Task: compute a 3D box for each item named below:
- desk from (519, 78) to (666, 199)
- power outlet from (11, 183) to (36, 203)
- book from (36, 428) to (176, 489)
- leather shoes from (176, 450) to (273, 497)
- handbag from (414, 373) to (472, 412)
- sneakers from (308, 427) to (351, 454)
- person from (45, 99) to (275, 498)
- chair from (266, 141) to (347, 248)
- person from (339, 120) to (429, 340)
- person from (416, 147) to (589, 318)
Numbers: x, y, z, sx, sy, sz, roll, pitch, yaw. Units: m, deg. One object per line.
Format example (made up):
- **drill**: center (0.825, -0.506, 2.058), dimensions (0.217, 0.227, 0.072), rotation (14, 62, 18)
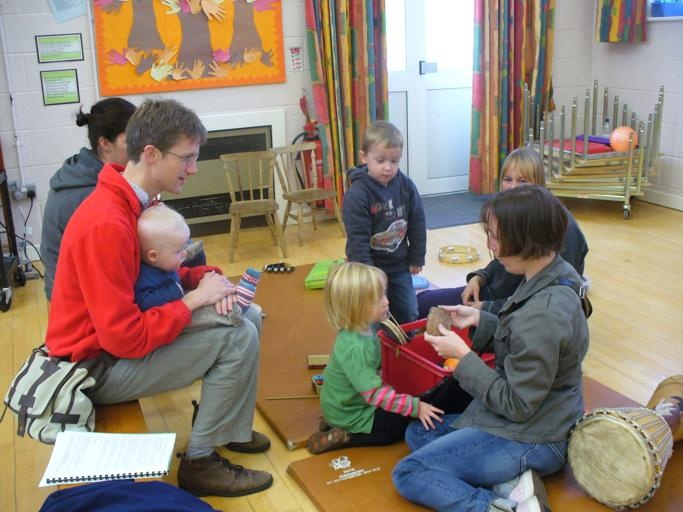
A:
- **desk**: center (2.249, -1.128, 5.100), dimensions (1.113, 1.132, 1.482), rotation (-14, 23, -30)
- **power outlet**: center (-2.438, -0.504, 4.105), dimensions (0.184, 0.185, 0.129), rotation (-8, 16, -44)
- **book**: center (-0.660, 0.563, 1.487), dimensions (0.277, 0.057, 0.209), rotation (3, 21, -3)
- **leather shoes**: center (-0.401, 0.745, 1.917), dimensions (0.350, 0.186, 0.130), rotation (-1, 12, -13)
- **handbag**: center (0.386, 0.498, 2.005), dimensions (0.161, 0.165, 0.204), rotation (5, 16, 35)
- **sneakers**: center (-0.042, 0.690, 1.990), dimensions (0.149, 0.084, 0.064), rotation (-8, -3, 9)
- **person**: center (-0.608, 0.140, 1.871), dimensions (0.793, 1.265, 0.545), rotation (2, 11, -17)
- **chair**: center (-0.299, -0.564, 4.511), dimensions (0.608, 1.067, 0.644), rotation (-17, 26, -29)
- **person**: center (0.262, -0.005, 2.913), dimensions (0.417, 1.468, 0.374), rotation (-8, 27, -6)
- **person**: center (0.783, -0.072, 2.532), dimensions (0.741, 0.832, 0.500), rotation (5, 3, -23)
